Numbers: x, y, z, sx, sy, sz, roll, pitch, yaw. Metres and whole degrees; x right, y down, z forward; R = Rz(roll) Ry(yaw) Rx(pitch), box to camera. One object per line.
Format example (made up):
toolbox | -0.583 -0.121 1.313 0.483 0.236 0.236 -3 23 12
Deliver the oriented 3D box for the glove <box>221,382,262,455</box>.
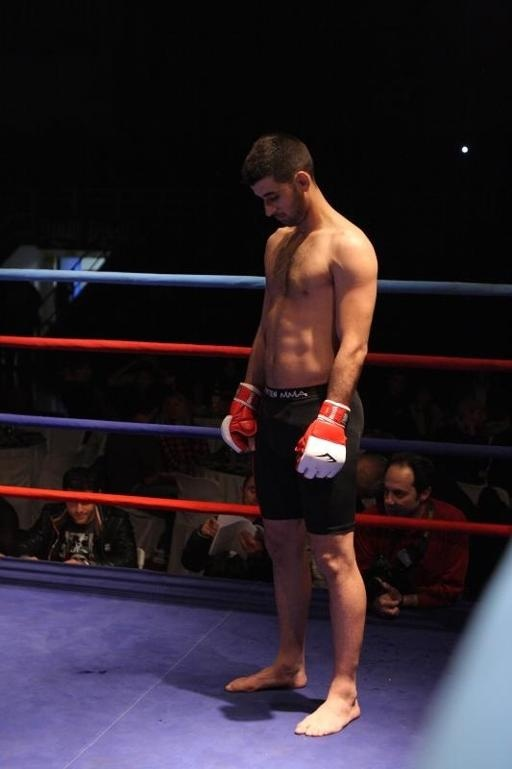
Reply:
glove | -0.030 0.078 1.687 0.102 0.137 0.063 8 -5 4

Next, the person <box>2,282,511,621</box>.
person | -0.003 0.244 2.669 1.623 0.745 0.604 1 -6 16

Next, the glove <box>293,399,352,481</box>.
glove | 0.126 0.104 1.403 0.093 0.142 0.066 17 -22 -6
